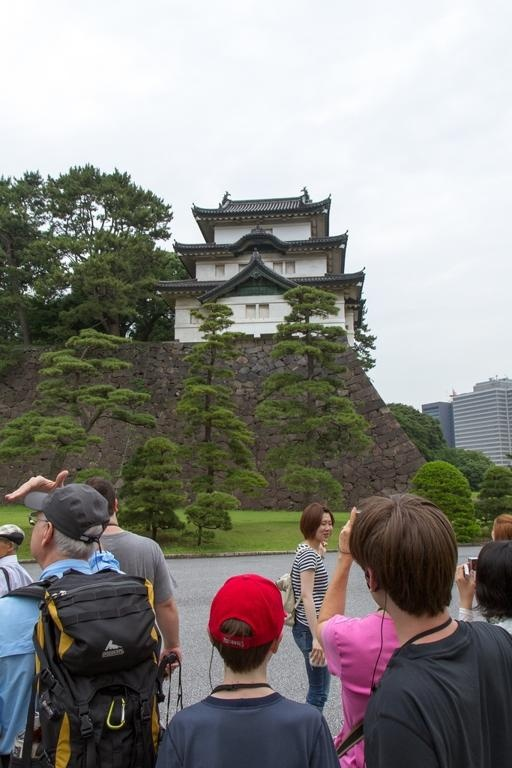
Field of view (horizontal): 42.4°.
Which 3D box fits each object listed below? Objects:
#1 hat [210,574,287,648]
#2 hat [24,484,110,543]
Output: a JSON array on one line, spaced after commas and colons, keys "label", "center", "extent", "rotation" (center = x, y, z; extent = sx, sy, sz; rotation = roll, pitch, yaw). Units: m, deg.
[{"label": "hat", "center": [-0.026, 0.601, 1.859], "extent": [0.225, 0.150, 0.312], "rotation": [2, -2, -1]}, {"label": "hat", "center": [-0.640, 0.416, 2.313], "extent": [0.292, 0.146, 0.198], "rotation": [31, 14, 27]}]
